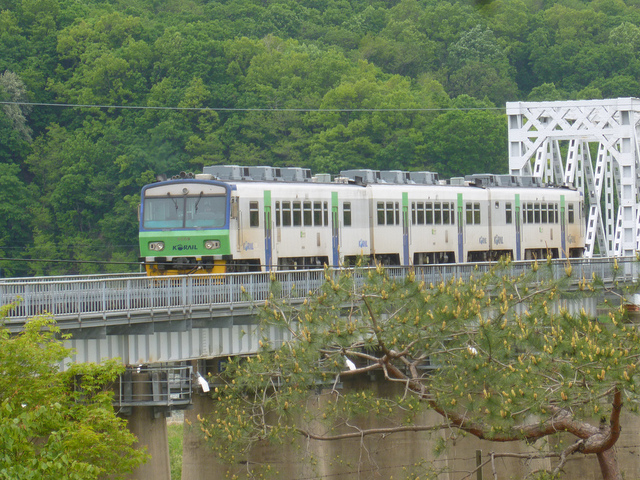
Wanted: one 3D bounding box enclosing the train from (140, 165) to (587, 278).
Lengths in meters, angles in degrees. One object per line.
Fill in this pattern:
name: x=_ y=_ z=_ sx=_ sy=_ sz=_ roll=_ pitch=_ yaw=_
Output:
train: x=1.272 y=-1.554 z=85.166 sx=11.825 sy=5.503 sz=25.249 roll=-2 pitch=-2 yaw=18
